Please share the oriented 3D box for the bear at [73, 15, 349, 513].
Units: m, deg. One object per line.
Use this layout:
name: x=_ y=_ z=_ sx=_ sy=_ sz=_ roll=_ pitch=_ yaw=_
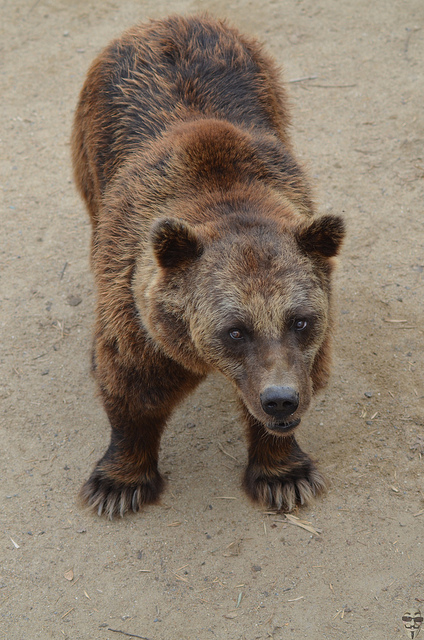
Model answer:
bear: x=-0.134 y=-0.625 z=4.473 sx=1.568 sy=1.914 sz=3.223 roll=-2 pitch=57 yaw=-5
